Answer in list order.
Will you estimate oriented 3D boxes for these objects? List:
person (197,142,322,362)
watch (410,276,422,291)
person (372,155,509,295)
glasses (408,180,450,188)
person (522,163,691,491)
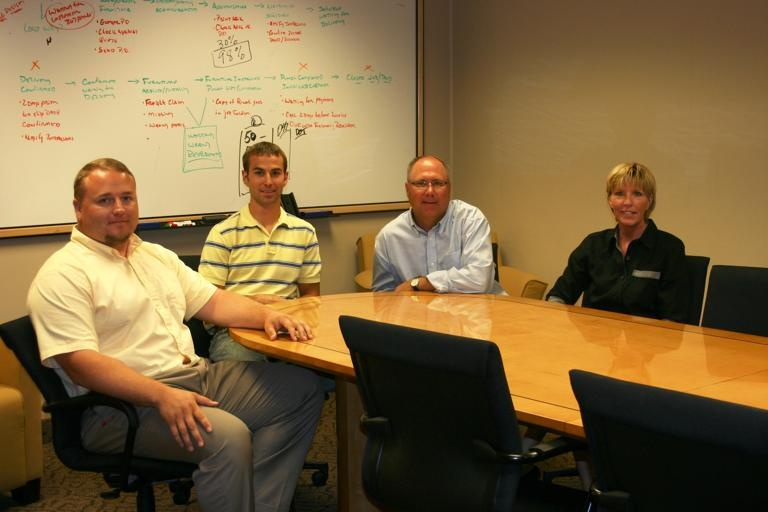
[{"bbox_3d":[-0.636,-0.012,3.117,0.725,1.215,0.669,-1,1,-25],"label":"person"},{"bbox_3d":[0.176,0.150,3.125,0.042,0.064,0.067,6,57,12],"label":"watch"},{"bbox_3d":[0.298,-0.170,3.482,0.784,1.101,0.767,-5,-6,6],"label":"person"},{"bbox_3d":[0.264,-0.410,3.248,0.212,0.044,0.068,-1,15,-1],"label":"glasses"},{"bbox_3d":[1.184,0.209,2.881,0.726,1.178,0.682,-8,13,-9],"label":"person"}]
